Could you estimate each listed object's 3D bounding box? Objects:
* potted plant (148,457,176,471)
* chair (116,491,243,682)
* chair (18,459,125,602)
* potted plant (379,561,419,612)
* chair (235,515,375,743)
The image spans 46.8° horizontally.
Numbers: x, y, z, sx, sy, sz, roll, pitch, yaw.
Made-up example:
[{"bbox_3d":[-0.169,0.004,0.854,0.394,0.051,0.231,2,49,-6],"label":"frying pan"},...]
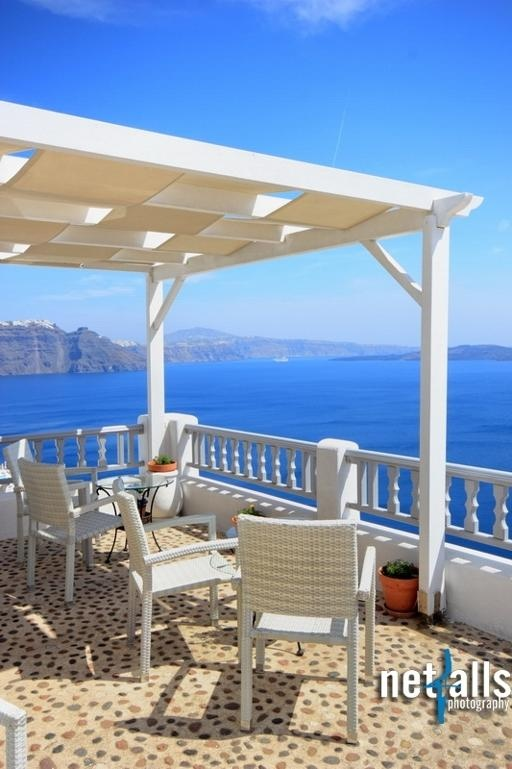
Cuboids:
[{"bbox_3d":[-0.949,0.794,5.913,0.288,0.139,0.224,-1,1,-5],"label":"potted plant"},{"bbox_3d":[-0.411,0.985,3.119,0.597,0.876,0.605,-2,1,-16],"label":"chair"},{"bbox_3d":[-1.294,0.970,4.134,0.568,0.940,0.604,-3,2,-42],"label":"chair"},{"bbox_3d":[0.857,1.235,3.612,0.256,0.227,0.268,0,-5,5],"label":"potted plant"},{"bbox_3d":[0.204,0.948,2.547,0.530,0.927,0.622,1,3,14],"label":"chair"}]
